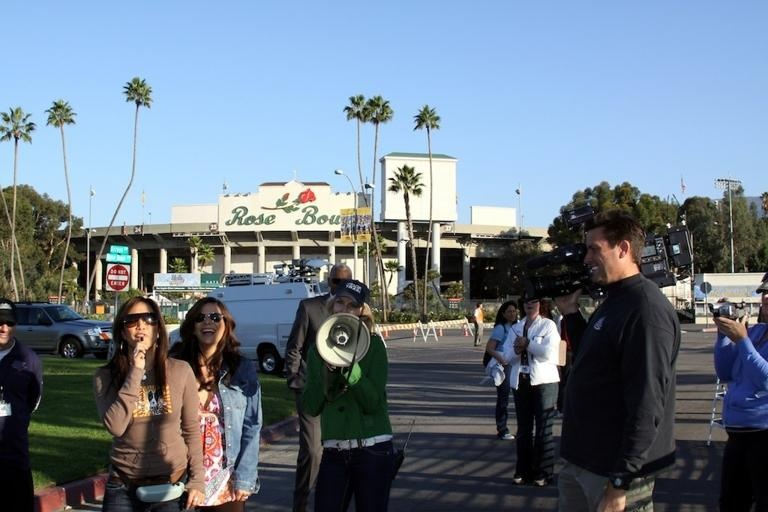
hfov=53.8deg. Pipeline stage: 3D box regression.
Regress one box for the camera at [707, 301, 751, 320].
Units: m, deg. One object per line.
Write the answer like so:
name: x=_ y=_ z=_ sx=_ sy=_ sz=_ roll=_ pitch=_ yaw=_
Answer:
camera: x=3.345 y=0.570 z=7.423 sx=0.264 sy=0.193 sz=0.522 roll=-4 pitch=-4 yaw=38

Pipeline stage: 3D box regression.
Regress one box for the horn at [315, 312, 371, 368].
horn: x=-0.353 y=0.748 z=6.419 sx=0.430 sy=0.461 sz=0.212 roll=-1 pitch=-3 yaw=-5

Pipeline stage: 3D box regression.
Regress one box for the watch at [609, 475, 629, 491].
watch: x=1.822 y=1.796 z=5.845 sx=0.102 sy=0.086 sz=0.112 roll=-6 pitch=-29 yaw=15

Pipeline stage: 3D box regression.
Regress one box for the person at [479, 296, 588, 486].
person: x=1.988 y=1.783 z=10.329 sx=1.087 sy=2.617 sz=0.831 roll=0 pitch=0 yaw=-27
